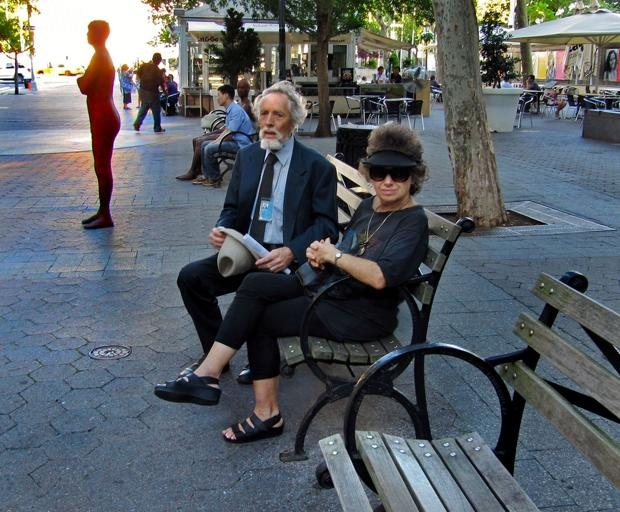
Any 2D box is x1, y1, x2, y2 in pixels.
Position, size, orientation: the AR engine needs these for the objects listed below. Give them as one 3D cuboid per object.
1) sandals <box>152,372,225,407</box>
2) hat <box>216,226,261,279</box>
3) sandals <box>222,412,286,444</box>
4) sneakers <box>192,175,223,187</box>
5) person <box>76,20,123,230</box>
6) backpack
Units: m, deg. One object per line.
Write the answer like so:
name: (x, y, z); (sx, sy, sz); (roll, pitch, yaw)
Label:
sandals: (-0.648, 0.730, 2.536); (0.410, 0.150, 0.149); (6, 1, 3)
hat: (-0.439, -0.030, 2.965); (0.289, 0.285, 0.172); (18, 16, 27)
sandals: (-0.312, 0.974, 2.565); (0.328, 0.117, 0.145); (-1, 7, -7)
sneakers: (-2.399, -1.733, 10.525); (0.692, 0.246, 0.293); (6, 15, 3)
person: (-3.277, -1.974, 6.964); (0.654, 3.098, 0.345); (-6, 17, -20)
backpack: (0.087, 0.059, 2.599); (0.198, 0.414, 0.308); (23, 18, -11)
